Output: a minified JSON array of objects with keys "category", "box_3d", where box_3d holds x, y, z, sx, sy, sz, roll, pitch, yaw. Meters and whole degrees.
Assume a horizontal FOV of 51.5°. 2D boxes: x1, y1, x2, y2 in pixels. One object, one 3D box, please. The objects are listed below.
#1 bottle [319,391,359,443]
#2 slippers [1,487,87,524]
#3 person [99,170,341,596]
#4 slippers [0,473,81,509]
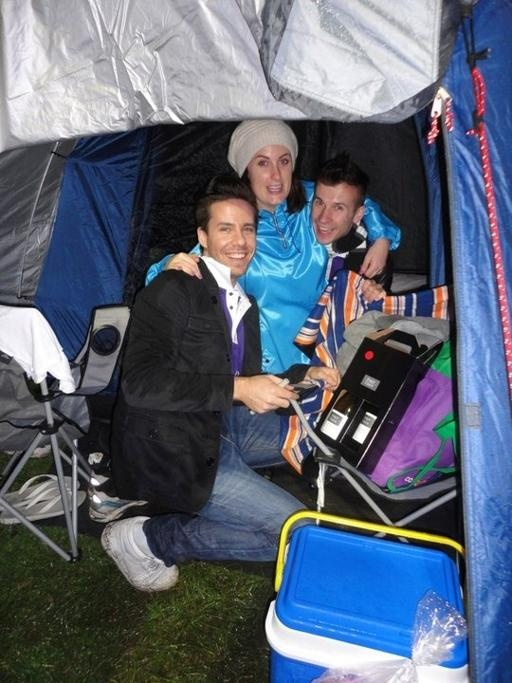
[{"category":"bottle","box_3d":[0.243,0.212,1.481,0.090,0.141,0.033,32,-2,29]},{"category":"slippers","box_3d":[-0.824,0.636,2.067,0.286,0.065,0.132,-4,25,-17]},{"category":"person","box_3d":[-0.061,0.156,1.667,0.682,1.179,0.555,7,7,12]},{"category":"slippers","box_3d":[-0.870,0.592,2.114,0.256,0.059,0.130,-9,24,-22]}]
